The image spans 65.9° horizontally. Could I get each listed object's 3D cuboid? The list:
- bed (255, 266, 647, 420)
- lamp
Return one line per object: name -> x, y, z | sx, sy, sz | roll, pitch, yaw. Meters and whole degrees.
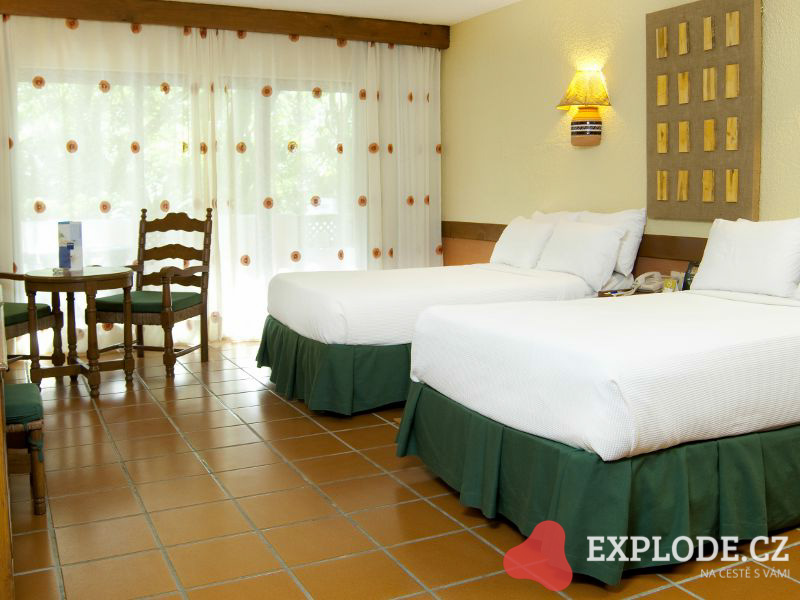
bed -> -0.054, 0.402, 5.174 | 2.187, 0.793, 1.727 | 11, 3, -36
lamp -> 1.550, -1.622, 5.190 | 0.412, 0.637, 0.425 | -5, 7, -44
